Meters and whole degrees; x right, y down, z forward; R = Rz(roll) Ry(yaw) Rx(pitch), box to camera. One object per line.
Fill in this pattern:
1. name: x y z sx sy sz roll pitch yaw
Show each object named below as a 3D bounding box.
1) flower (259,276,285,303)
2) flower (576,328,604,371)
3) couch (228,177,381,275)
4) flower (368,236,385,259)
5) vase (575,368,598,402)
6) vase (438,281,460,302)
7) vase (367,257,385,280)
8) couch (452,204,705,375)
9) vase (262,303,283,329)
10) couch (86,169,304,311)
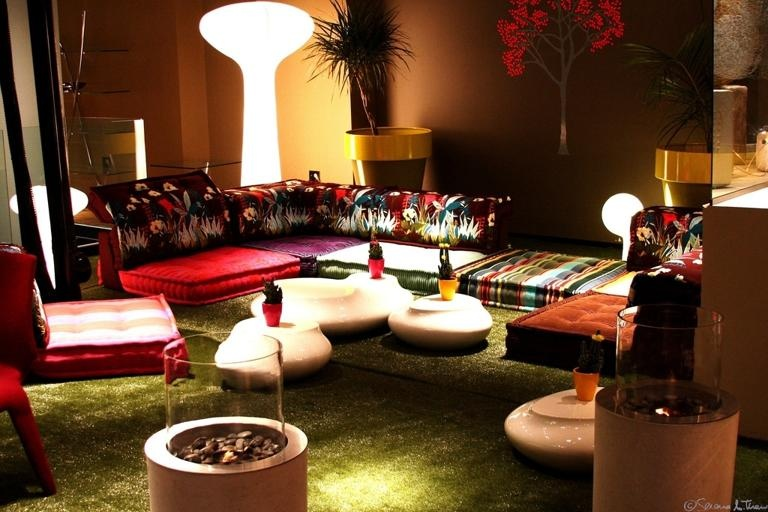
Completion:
1. flower: -0.812 0.246 4.190 0.145 0.192 0.131 -17 19 -22
2. flower: 0.999 0.482 2.777 0.119 0.238 0.112 7 4 35
3. couch: -0.847 -0.285 6.225 1.704 0.742 1.654 -5 16 -23
4. flower: -0.075 -0.059 4.770 0.168 0.177 0.162 -2 8 -8
5. vase: 1.005 0.639 2.874 0.134 0.135 0.130 -1 -1 -4
6. vase: 0.477 0.241 4.337 0.118 0.171 0.177 -3 9 6
7. vase: -0.060 0.107 4.772 0.162 0.174 0.153 -1 11 1
8. couch: 1.476 0.172 4.661 1.777 0.970 1.436 -12 12 -43
9. vase: -0.726 0.369 3.763 0.155 0.160 0.149 -4 13 -20
10. couch: -1.803 -0.206 5.702 1.738 0.947 1.695 -9 18 -40
